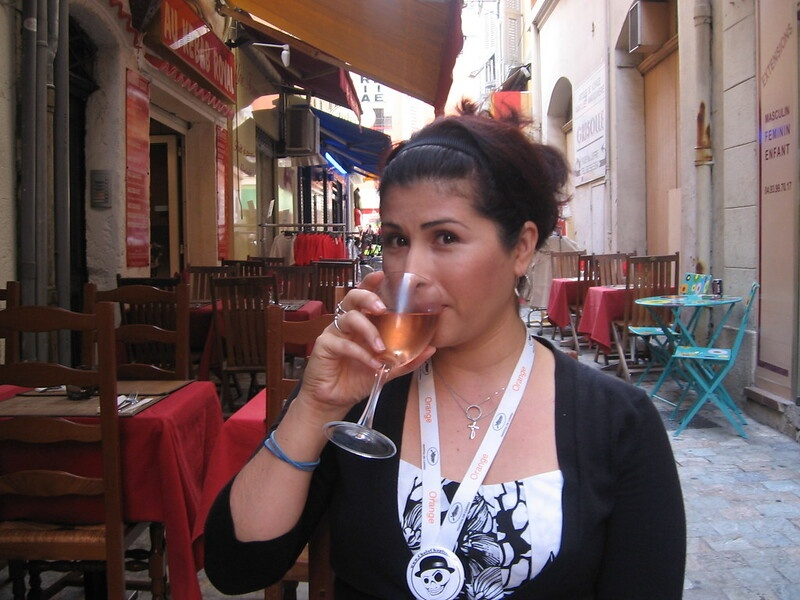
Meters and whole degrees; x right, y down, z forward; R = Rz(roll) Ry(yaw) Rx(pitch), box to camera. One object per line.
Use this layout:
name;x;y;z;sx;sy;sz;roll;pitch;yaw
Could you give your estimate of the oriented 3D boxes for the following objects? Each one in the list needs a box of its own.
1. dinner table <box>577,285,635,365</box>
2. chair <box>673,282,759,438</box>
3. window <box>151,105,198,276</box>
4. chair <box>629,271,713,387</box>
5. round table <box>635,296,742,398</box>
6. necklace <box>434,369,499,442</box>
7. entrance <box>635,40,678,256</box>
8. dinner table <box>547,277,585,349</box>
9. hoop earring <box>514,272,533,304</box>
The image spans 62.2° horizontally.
dinner table;2.399;0.241;7.424;0.778;0.683;0.807;4;6;28
chair;2.767;0.523;5.738;0.724;1.591;1.118;2;2;16
window;-3.344;-1.311;9.358;0.645;1.918;0.191;9;17;28
chair;2.590;0.240;6.336;0.591;0.916;0.497;-5;6;6
round table;2.610;0.413;6.161;0.837;1.014;0.896;0;6;0
necklace;0.220;0.341;2.118;0.210;0.228;0.011;-1;-26;6
entrance;3.938;-2.360;9.944;0.099;2.467;1.215;-12;18;0
dinner table;2.138;0.113;8.635;0.636;0.836;0.737;1;-2;-7
hoop earring;0.445;-0.048;2.304;0.071;0.087;0.094;-1;-6;0
